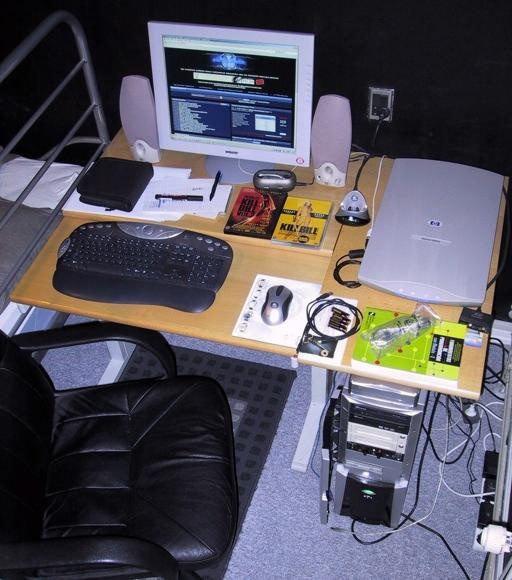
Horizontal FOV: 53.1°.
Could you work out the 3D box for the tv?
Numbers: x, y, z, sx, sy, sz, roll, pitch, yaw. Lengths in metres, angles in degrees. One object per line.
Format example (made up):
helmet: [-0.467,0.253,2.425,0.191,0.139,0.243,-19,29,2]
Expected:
tv: [-0.065,-0.563,1.559,0.483,0.433,0.175,9,42,9]

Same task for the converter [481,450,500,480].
converter: [0.733,0.555,1.621,0.074,0.018,0.069,5,60,34]

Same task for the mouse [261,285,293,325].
mouse: [0.053,0.033,1.321,0.081,0.045,0.140,13,47,11]

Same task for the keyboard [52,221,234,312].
keyboard: [-0.332,-0.071,1.451,0.509,0.051,0.281,7,45,9]

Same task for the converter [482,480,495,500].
converter: [0.732,0.628,1.610,0.037,0.015,0.051,-4,69,42]

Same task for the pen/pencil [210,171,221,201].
pen/pencil: [-0.131,-0.337,1.645,0.029,0.020,0.125,9,60,13]

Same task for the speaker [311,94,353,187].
speaker: [0.233,-0.452,1.569,0.123,0.277,0.046,14,42,21]

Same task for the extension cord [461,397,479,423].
extension cord: [0.807,0.456,1.923,0.053,0.028,0.096,3,42,17]
